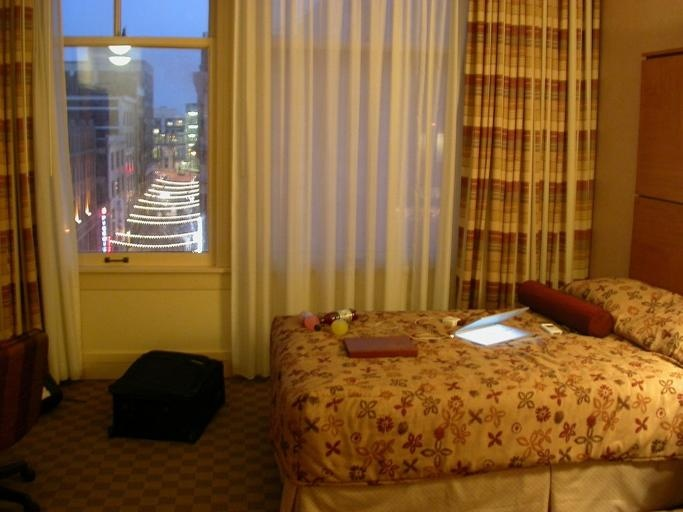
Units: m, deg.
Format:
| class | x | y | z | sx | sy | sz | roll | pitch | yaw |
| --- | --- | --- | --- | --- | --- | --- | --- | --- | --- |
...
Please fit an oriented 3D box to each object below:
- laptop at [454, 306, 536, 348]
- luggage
| class | x | y | z | sx | sy | sz | roll | pitch | yaw |
| --- | --- | --- | --- | --- | --- | --- | --- | --- | --- |
| laptop | 0.955 | 0.431 | 3.585 | 0.328 | 0.105 | 0.231 | -6 | 7 | -26 |
| luggage | -1.199 | 0.958 | 3.886 | 0.627 | 0.445 | 0.531 | 1 | 12 | 5 |
